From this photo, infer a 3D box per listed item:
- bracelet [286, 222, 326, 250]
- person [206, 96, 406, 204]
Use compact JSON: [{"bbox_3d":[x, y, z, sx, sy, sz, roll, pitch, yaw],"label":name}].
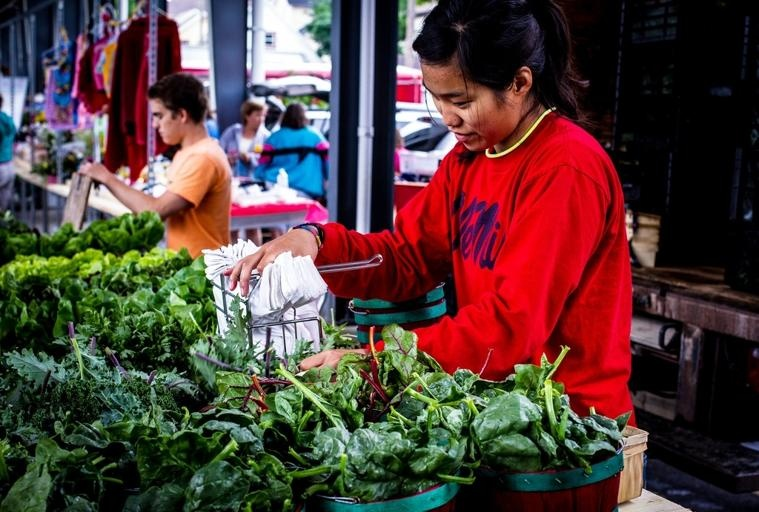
[{"bbox_3d":[-0.290,-0.091,2.821,0.116,0.057,0.096,19,27,-2],"label":"bracelet"},{"bbox_3d":[-0.770,-1.023,7.372,1.580,0.850,0.975,15,13,9],"label":"person"}]
